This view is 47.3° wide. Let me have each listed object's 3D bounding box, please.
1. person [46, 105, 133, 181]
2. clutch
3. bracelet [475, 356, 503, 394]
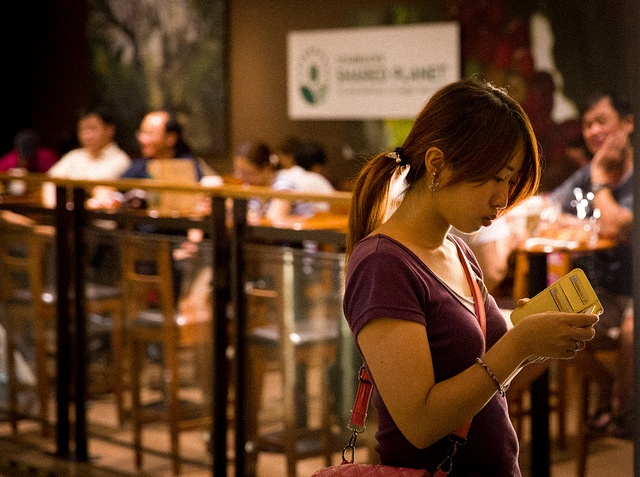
[{"bbox_3d":[-1.781,-0.746,5.810,0.796,0.593,0.486,2,12,13],"label":"person"},{"bbox_3d":[0.640,0.235,2.026,0.279,0.211,0.086,-33,-47,24],"label":"clutch"},{"bbox_3d":[0.434,0.349,1.845,0.025,0.095,0.075,-35,-16,6],"label":"bracelet"}]
